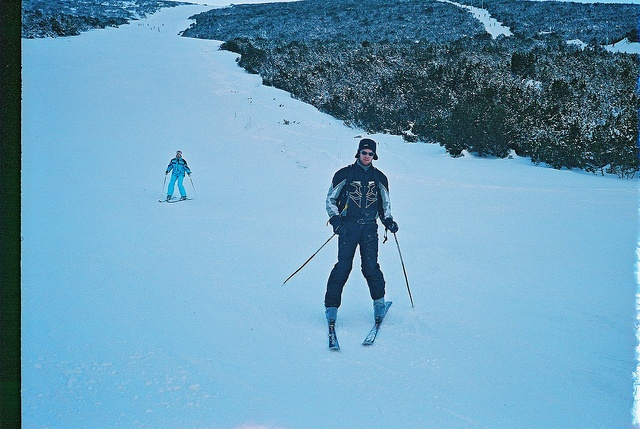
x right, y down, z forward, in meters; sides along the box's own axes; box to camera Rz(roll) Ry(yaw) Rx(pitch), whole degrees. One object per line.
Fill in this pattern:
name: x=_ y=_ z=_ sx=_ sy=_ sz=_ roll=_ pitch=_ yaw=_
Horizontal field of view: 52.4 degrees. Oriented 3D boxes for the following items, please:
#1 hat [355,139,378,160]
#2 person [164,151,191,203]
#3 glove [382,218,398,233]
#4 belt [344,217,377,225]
hat: x=1.246 y=-1.712 z=17.167 sx=0.492 sy=0.459 sz=0.564 roll=4 pitch=-15 yaw=0
person: x=-5.019 y=-1.361 z=23.021 sx=0.812 sy=1.651 sz=1.292 roll=1 pitch=11 yaw=-13
glove: x=1.871 y=0.277 z=17.052 sx=0.203 sy=0.310 sz=0.398 roll=-20 pitch=31 yaw=-41
belt: x=1.052 y=0.174 z=16.948 sx=0.847 sy=0.165 sz=0.110 roll=3 pitch=11 yaw=-4
